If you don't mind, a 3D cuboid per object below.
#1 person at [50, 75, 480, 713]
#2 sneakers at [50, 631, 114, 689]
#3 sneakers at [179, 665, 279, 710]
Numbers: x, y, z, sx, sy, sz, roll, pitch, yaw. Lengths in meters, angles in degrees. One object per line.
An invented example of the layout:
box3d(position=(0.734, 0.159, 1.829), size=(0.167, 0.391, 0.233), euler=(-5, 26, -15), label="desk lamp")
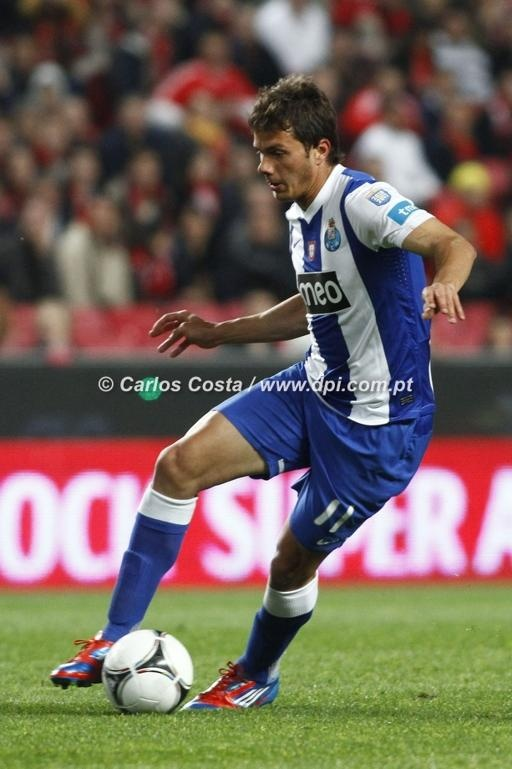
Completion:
box3d(position=(0.124, 0.067, 2.580), size=(1.107, 1.796, 0.762), euler=(9, 5, 33), label="person")
box3d(position=(-0.528, 0.765, 2.595), size=(0.093, 0.113, 0.255), euler=(-11, -11, 36), label="sneakers")
box3d(position=(-0.055, 0.876, 2.742), size=(0.301, 0.113, 0.094), euler=(4, -19, -34), label="sneakers")
